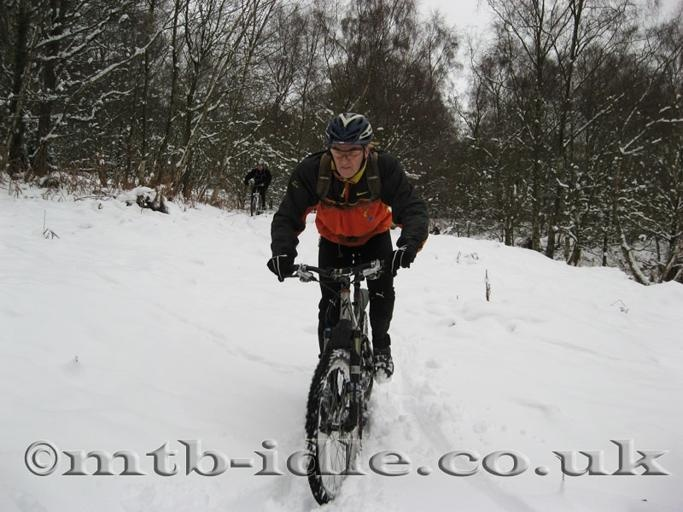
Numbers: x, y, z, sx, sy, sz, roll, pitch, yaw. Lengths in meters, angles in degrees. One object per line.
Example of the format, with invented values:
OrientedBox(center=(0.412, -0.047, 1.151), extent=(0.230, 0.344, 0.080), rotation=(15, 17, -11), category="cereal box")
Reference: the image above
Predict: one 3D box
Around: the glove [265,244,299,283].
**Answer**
OrientedBox(center=(-0.901, 0.140, 10.586), extent=(0.506, 0.688, 0.251), rotation=(-4, -7, 5), category="glove")

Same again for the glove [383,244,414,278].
OrientedBox(center=(0.793, 0.086, 9.534), extent=(0.289, 0.182, 0.435), rotation=(-15, 22, 40), category="glove")

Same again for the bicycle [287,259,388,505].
OrientedBox(center=(-0.013, 1.649, 9.599), extent=(0.789, 3.128, 1.542), rotation=(7, 14, 30), category="bicycle")

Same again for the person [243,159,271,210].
OrientedBox(center=(-2.714, -2.340, 22.675), extent=(0.798, 1.694, 3.424), rotation=(-1, 15, -7), category="person")
